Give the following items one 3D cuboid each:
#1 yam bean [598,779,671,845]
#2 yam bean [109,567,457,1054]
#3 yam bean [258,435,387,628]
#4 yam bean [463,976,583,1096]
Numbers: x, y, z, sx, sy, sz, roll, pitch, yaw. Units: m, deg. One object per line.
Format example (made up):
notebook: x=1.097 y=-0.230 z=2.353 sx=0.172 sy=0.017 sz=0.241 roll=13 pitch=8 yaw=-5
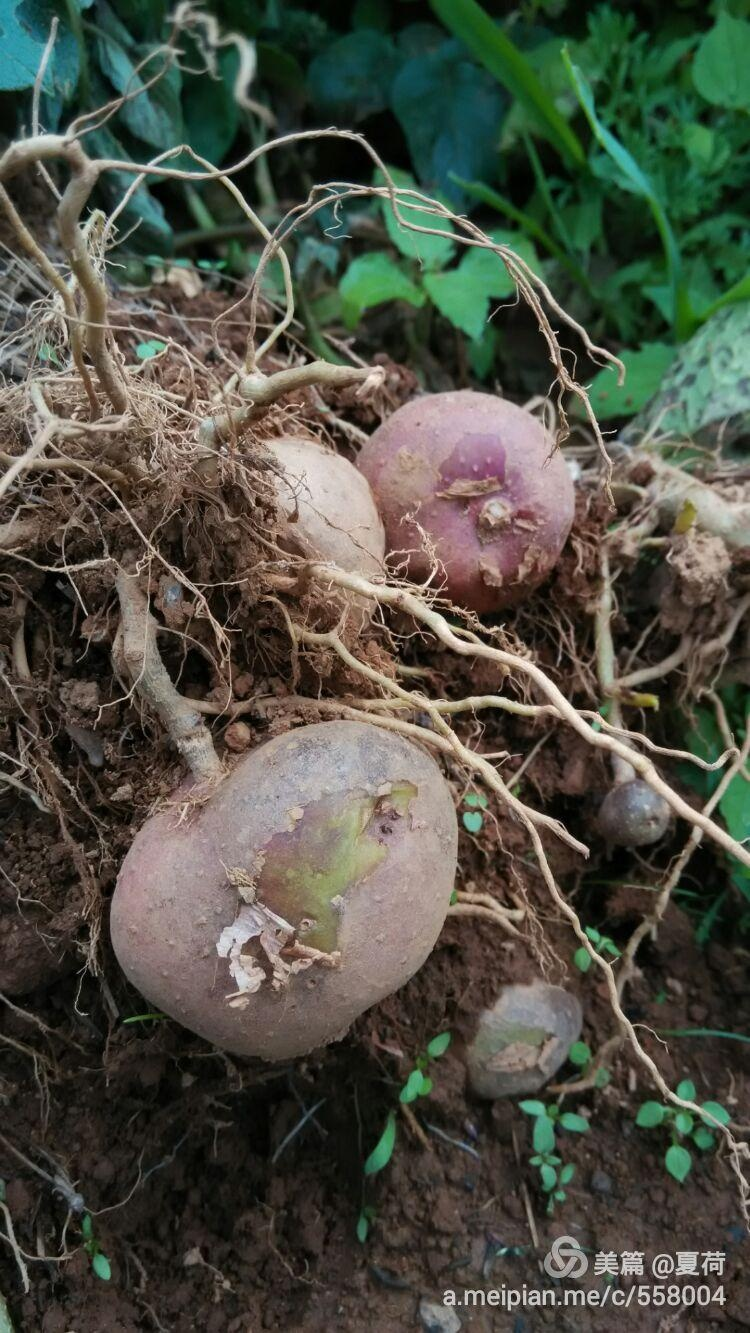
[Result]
yam bean: x=0.322 y=0.185 z=1.388 sx=0.084 sy=0.115 sz=0.089 roll=-10 pitch=83 yaw=3
yam bean: x=-0.139 y=0.183 z=1.116 sx=0.409 sy=0.288 sz=0.344 roll=17 pitch=61 yaw=22
yam bean: x=-0.056 y=-0.170 z=1.249 sx=0.112 sy=0.158 sz=0.206 roll=-6 pitch=68 yaw=-30
yam bean: x=0.184 y=0.469 z=1.401 sx=0.155 sy=0.060 sz=0.121 roll=-37 pitch=91 yaw=-6
